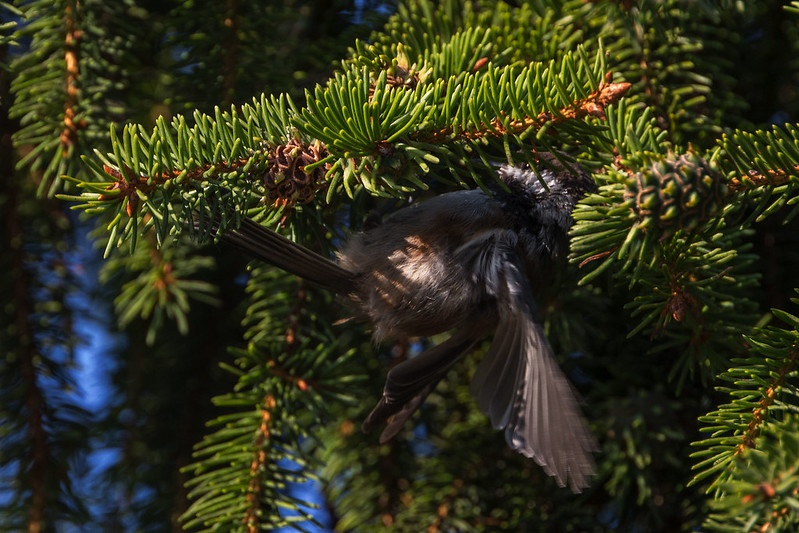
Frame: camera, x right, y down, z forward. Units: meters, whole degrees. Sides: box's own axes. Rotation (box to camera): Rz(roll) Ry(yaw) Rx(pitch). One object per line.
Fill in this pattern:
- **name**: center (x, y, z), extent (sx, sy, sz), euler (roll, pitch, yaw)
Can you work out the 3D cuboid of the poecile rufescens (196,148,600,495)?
- **poecile rufescens**: center (0.266, 0.123, 3.703), extent (1.105, 0.968, 0.626), euler (24, 29, 15)
